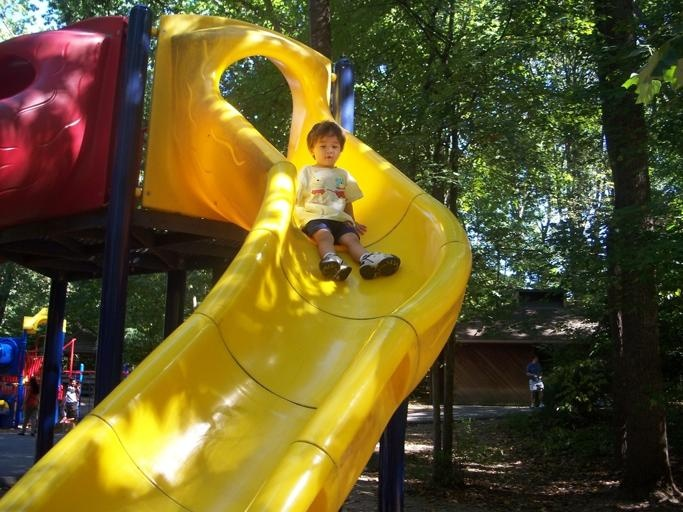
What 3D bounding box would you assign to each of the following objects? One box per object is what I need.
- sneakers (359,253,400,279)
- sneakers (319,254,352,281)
[{"bbox_3d":[0.371,0.071,6.911,0.381,0.221,0.265,-8,18,-3],"label":"sneakers"},{"bbox_3d":[-0.068,0.107,6.799,0.309,0.208,0.129,12,18,-8],"label":"sneakers"}]
